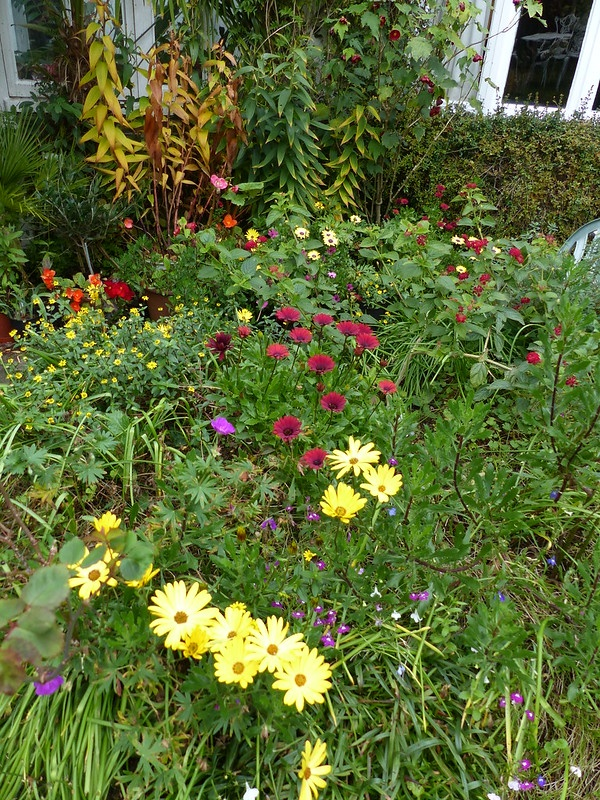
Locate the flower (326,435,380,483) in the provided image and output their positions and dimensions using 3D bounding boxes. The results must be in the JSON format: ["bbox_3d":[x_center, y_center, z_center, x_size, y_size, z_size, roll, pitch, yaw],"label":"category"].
[{"bbox_3d":[0.130,0.144,1.376,0.122,0.036,0.117,-20,50,-4],"label":"flower"}]

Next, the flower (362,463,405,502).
[{"bbox_3d":[0.176,0.188,1.341,0.088,0.034,0.088,24,71,17],"label":"flower"}]

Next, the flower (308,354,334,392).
[{"bbox_3d":[0.060,-0.079,1.805,0.095,0.119,0.088,3,59,3],"label":"flower"}]

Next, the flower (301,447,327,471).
[{"bbox_3d":[0.037,0.148,1.435,0.057,0.024,0.058,-28,38,-7],"label":"flower"}]

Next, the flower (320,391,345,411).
[{"bbox_3d":[0.081,0.003,1.570,0.057,0.068,0.060,9,28,-1],"label":"flower"}]
